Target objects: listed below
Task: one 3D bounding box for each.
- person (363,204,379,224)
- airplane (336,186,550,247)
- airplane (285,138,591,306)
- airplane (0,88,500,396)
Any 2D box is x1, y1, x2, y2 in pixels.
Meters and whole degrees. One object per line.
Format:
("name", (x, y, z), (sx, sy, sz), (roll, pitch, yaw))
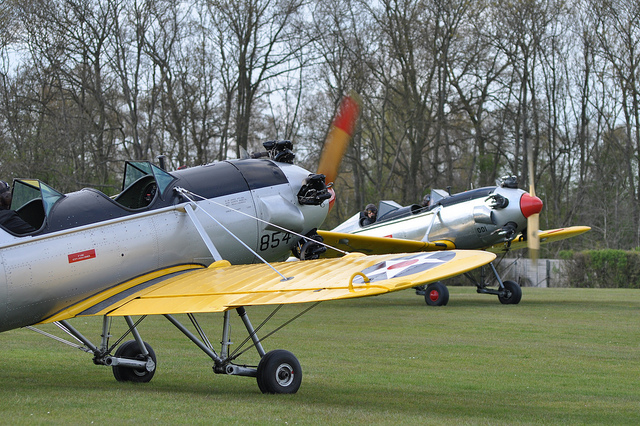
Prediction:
("person", (2.077, 0.085, 33.144), (0.530, 0.717, 0.705), (-2, -9, 8))
("airplane", (4.990, 0.088, 30.835), (6.125, 2.327, 2.914), (-8, -29, 31))
("airplane", (4.280, 0.640, 30.106), (7.203, 3.378, 8.520), (-10, -6, 37))
("airplane", (-2.590, 0.500, 21.593), (9.561, 7.187, 9.436), (1, 7, 7))
